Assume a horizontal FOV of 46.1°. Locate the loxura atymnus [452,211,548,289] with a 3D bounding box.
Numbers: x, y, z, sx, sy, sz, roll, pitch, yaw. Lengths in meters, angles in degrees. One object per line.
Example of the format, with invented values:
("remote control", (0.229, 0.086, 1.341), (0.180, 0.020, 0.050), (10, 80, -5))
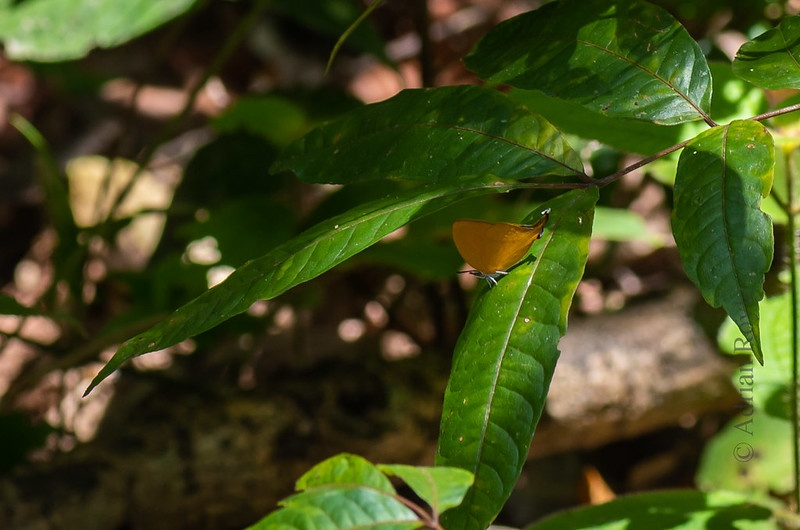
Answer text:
("loxura atymnus", (0.192, -0.029, 1.814), (0.188, 0.122, 0.203), (-30, 0, -6))
